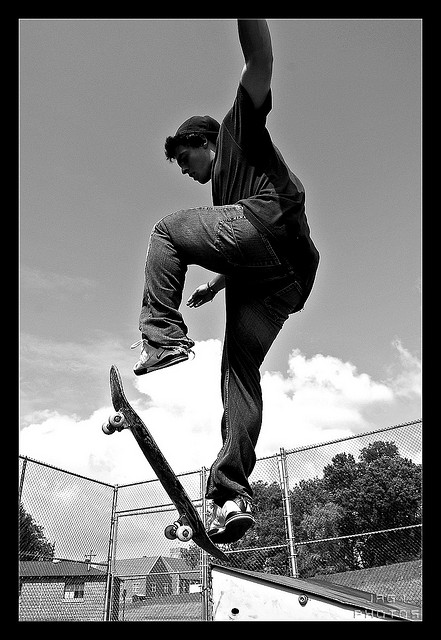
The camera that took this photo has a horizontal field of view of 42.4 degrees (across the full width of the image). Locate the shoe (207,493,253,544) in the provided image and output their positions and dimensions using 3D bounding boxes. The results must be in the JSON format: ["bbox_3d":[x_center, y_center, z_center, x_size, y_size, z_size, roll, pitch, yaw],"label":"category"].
[{"bbox_3d":[0.021,1.155,3.345,0.148,0.283,0.407,8,-43,-16],"label":"shoe"}]

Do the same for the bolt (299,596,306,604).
[{"bbox_3d":[0.495,1.694,3.450,0.010,0.038,0.069,7,-19,-27],"label":"bolt"}]

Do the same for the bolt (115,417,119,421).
[{"bbox_3d":[-0.609,0.583,3.359,0.015,0.019,0.006,-10,1,-5],"label":"bolt"}]
